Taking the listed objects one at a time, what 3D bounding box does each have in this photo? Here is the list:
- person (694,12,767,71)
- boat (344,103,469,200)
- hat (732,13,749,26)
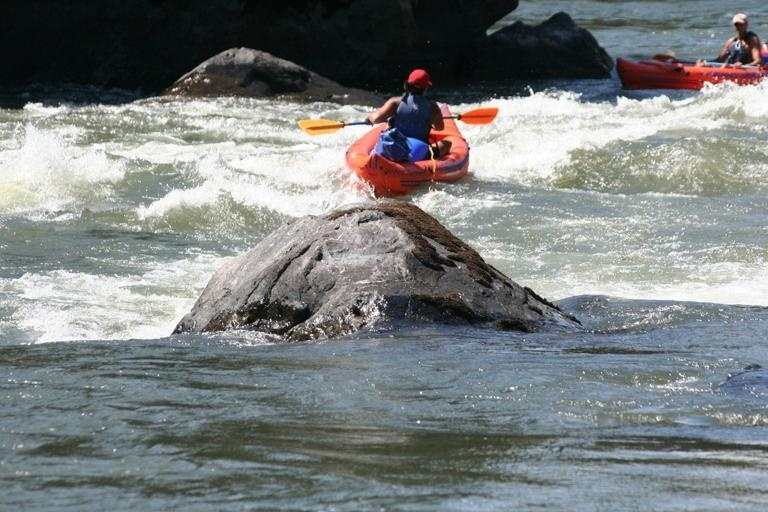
[{"bbox_3d":[8.882,-5.259,36.382,0.877,1.210,1.444,0,9,-3],"label":"person"},{"bbox_3d":[0.461,-1.938,30.424,2.586,1.360,1.320,-2,9,-17],"label":"boat"},{"bbox_3d":[8.719,-5.651,35.909,0.308,0.307,0.361,1,9,7],"label":"hat"}]
